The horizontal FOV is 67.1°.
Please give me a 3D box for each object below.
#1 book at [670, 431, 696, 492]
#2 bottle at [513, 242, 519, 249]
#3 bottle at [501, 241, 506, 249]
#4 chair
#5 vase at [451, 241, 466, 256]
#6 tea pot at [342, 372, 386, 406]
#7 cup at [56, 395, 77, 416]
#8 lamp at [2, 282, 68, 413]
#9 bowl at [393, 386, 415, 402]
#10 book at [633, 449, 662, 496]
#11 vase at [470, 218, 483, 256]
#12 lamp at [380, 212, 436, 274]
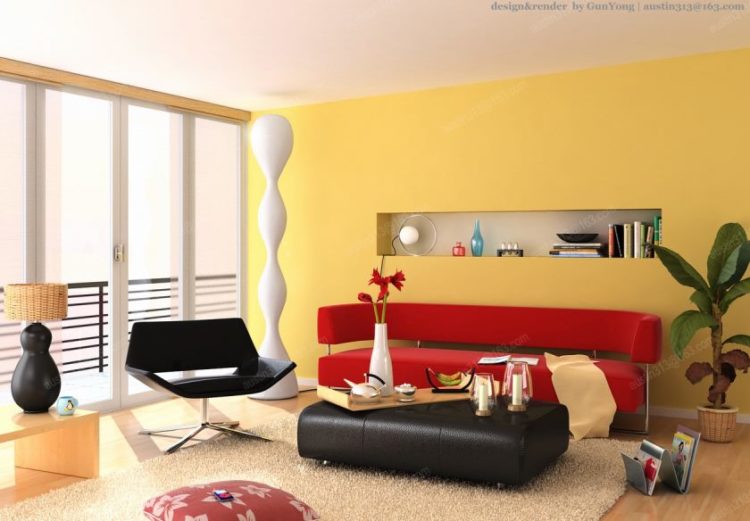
[{"bbox_3d":[2.058,1.305,3.751,0.143,0.425,0.247,1,4,28],"label":"book"},{"bbox_3d":[1.493,-0.155,5.993,0.057,0.095,0.060,3,-6,0],"label":"bottle"},{"bbox_3d":[1.376,-0.161,6.042,0.059,0.105,0.059,1,-3,0],"label":"bottle"},{"bbox_3d":[-1.520,0.871,5.017,1.532,1.118,1.031,4,-8,-36],"label":"chair"},{"bbox_3d":[0.929,-0.136,6.217,0.157,0.152,0.112,1,3,25],"label":"vase"},{"bbox_3d":[-0.091,0.959,4.230,0.315,0.146,0.162,3,0,45],"label":"tea pot"},{"bbox_3d":[-2.224,1.042,4.101,0.108,0.126,0.143,-2,-11,33],"label":"cup"},{"bbox_3d":[-2.487,0.626,4.138,0.409,0.915,0.301,-1,4,-13],"label":"lamp"},{"bbox_3d":[0.222,0.984,4.218,0.115,0.078,0.120,1,-5,0],"label":"bowl"},{"bbox_3d":[1.805,1.399,3.734,0.092,0.270,0.277,9,-5,-6],"label":"book"},{"bbox_3d":[1.107,-0.245,6.115,0.141,0.386,0.176,0,3,15],"label":"vase"},{"bbox_3d":[0.375,-0.207,6.479,0.710,0.620,0.239,1,10,18],"label":"lamp"}]
